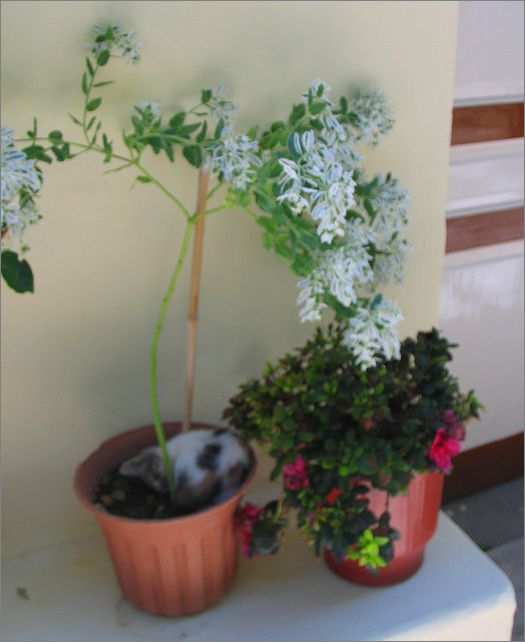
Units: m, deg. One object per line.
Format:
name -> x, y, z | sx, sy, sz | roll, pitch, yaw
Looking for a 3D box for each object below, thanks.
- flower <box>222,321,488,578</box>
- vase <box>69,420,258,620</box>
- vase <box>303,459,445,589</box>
flower -> 0.165, 0.169, 1.152 | 0.497, 0.484, 0.435 | -1, 15, -2
vase -> -0.202, 0.390, 1.134 | 0.339, 0.234, 0.305 | -6, 17, -14
vase -> 0.198, 0.350, 1.172 | 0.250, 0.187, 0.225 | 11, 23, 41
